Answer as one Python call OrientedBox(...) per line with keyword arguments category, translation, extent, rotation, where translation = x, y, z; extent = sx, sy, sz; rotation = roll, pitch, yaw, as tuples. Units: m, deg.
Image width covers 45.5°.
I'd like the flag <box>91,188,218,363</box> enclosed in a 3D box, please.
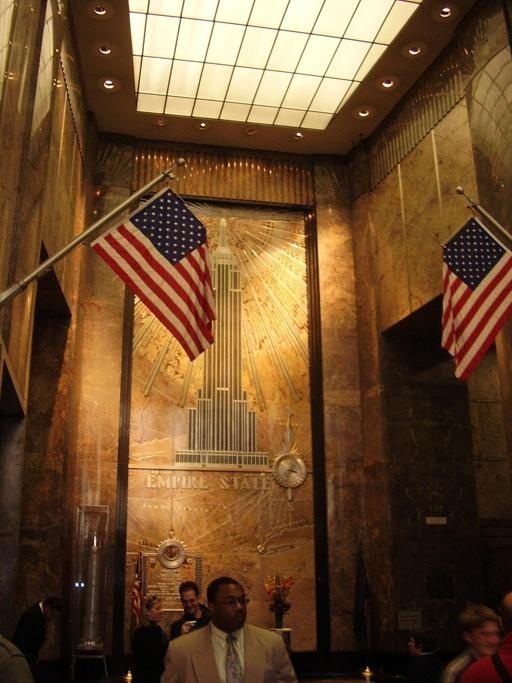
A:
OrientedBox(category="flag", translation=(-0.649, -0.552, 4.423), extent=(0.431, 1.229, 0.930), rotation=(-21, -27, 40))
